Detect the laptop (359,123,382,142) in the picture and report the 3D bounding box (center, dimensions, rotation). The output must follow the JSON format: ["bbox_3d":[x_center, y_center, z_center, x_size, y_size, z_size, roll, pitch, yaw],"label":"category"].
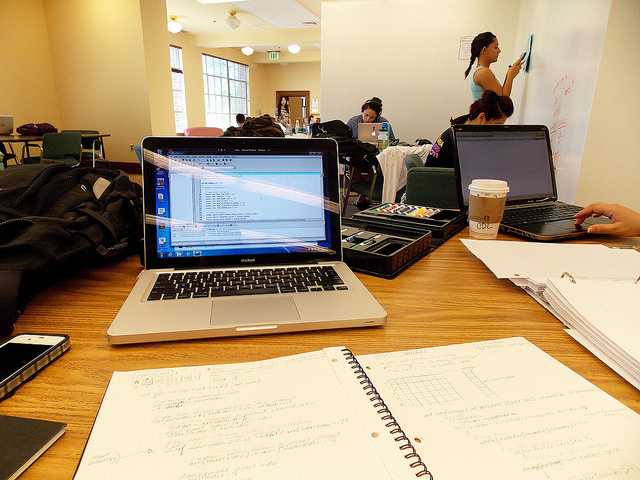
[{"bbox_3d":[0.456,-1.000,4.215,0.224,0.151,0.161,2,22,-2],"label":"laptop"}]

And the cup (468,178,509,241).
[{"bbox_3d":[0.441,-0.084,1.207,0.109,0.144,0.103,1,12,0],"label":"cup"}]

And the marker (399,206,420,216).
[{"bbox_3d":[0.256,-0.082,1.287,0.021,0.005,0.108,13,24,32],"label":"marker"}]

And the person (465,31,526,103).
[{"bbox_3d":[1.640,-1.668,4.312,0.468,0.611,0.948,6,21,16],"label":"person"}]

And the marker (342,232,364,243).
[{"bbox_3d":[0.085,-0.008,1.083,0.013,0.011,0.091,31,32,28],"label":"marker"}]

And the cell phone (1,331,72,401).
[{"bbox_3d":[-0.436,0.187,0.706,0.052,0.013,0.101,10,18,14],"label":"cell phone"}]

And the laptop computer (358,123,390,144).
[{"bbox_3d":[0.470,-1.005,4.214,0.243,0.163,0.174,1,17,-2],"label":"laptop computer"}]

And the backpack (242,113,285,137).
[{"bbox_3d":[-0.453,-0.916,3.662,0.295,0.138,0.452,-5,21,-13],"label":"backpack"}]

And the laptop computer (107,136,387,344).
[{"bbox_3d":[-0.147,-0.018,0.881,0.470,0.332,0.390,-2,16,-9],"label":"laptop computer"}]

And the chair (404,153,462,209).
[{"bbox_3d":[0.549,-0.284,1.984,0.287,0.193,0.356,2,22,25],"label":"chair"}]

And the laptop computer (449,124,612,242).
[{"bbox_3d":[0.645,-0.191,1.321,0.458,0.254,0.378,-12,23,-37],"label":"laptop computer"}]
